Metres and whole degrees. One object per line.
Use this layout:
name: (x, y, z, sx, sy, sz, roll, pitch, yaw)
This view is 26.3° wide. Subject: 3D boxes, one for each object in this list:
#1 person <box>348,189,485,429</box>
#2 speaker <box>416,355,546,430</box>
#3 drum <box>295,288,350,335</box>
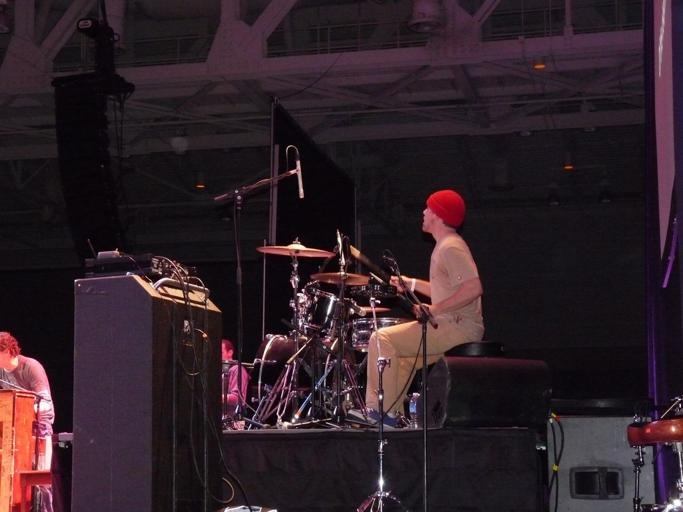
person: (0.853, 0.557, 14.840, 1.316, 2.266, 1.025, 0, 5, 10)
speaker: (1.431, 1.330, 13.988, 1.034, 0.872, 0.731, -2, -7, 19)
drum: (-0.242, 0.624, 16.069, 0.529, 0.470, 0.509, 18, -7, -7)
